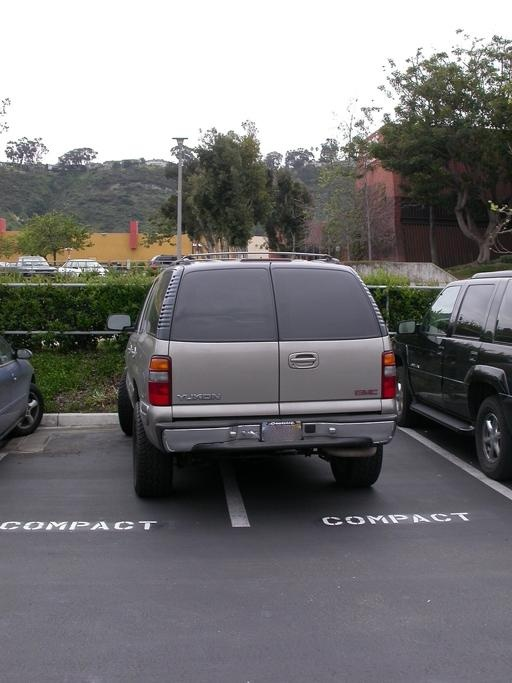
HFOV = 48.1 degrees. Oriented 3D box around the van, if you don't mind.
[{"bbox_3d":[-0.106,0.079,4.808,1.320,1.204,2.430,-1,6,-13],"label":"van"}]
